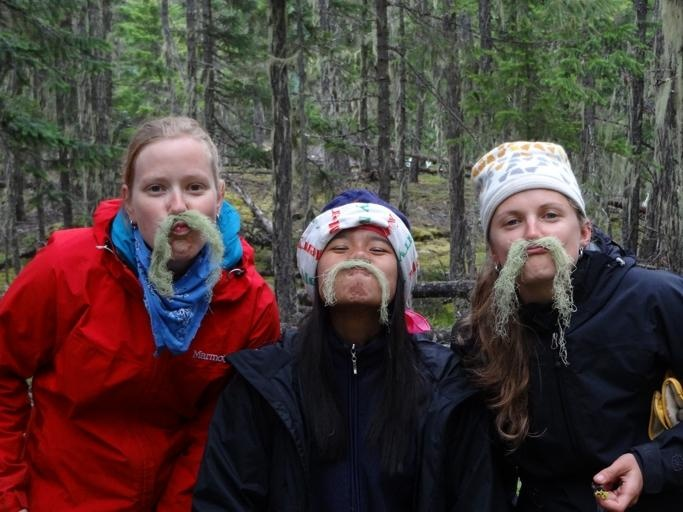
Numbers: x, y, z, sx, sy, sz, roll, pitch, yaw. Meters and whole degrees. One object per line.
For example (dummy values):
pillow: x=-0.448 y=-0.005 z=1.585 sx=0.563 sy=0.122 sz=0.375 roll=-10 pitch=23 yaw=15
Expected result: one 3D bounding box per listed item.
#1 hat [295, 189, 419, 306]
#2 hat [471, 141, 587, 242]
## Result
hat: x=0.133 y=0.093 z=5.402 sx=0.841 sy=1.032 sz=1.135 roll=2 pitch=-19 yaw=-1
hat: x=1.143 y=-0.500 z=5.021 sx=0.582 sy=0.518 sz=0.467 roll=-7 pitch=0 yaw=33
